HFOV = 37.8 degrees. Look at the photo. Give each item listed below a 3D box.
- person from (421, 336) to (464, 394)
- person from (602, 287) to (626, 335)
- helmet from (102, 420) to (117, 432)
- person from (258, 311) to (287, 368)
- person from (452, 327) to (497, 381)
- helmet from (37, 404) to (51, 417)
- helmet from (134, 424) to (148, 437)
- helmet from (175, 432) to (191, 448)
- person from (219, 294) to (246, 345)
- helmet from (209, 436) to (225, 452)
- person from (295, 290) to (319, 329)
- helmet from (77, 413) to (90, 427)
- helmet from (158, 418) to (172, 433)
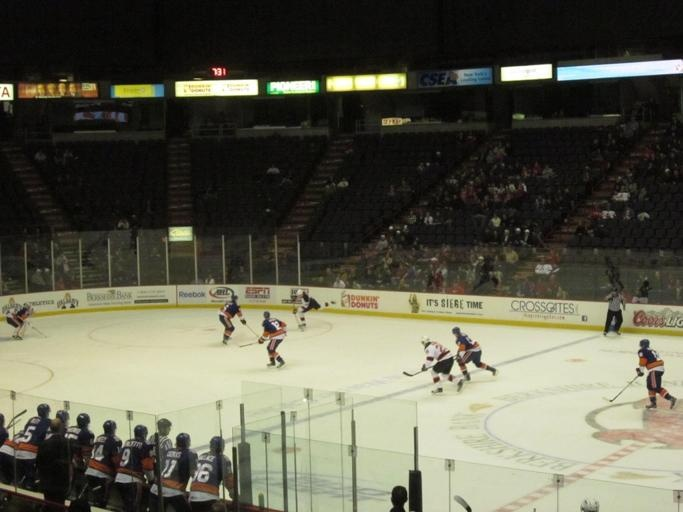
[{"bbox_3d":[2.651,2.754,25.939,0.995,1.458,1.103,1,10,9],"label":"person"},{"bbox_3d":[8.453,1.727,30.766,0.576,1.464,0.905,2,10,17],"label":"person"},{"bbox_3d":[-4.483,3.349,19.425,0.245,0.264,0.191,3,4,-44],"label":"helmet"},{"bbox_3d":[-2.033,2.540,29.318,0.864,1.757,0.796,11,29,25],"label":"person"},{"bbox_3d":[3.695,2.800,27.677,1.094,1.434,0.615,0,43,35],"label":"person"},{"bbox_3d":[-5.947,3.099,19.955,0.265,0.292,0.210,-4,6,-11],"label":"helmet"},{"bbox_3d":[-3.825,3.377,19.029,0.202,0.265,0.259,9,9,42],"label":"helmet"},{"bbox_3d":[-3.007,3.533,18.960,0.212,0.265,0.262,2,7,2],"label":"helmet"},{"bbox_3d":[-3.471,1.928,31.748,0.789,1.558,1.677,-2,10,-5],"label":"person"},{"bbox_3d":[-2.354,3.585,18.953,0.297,0.311,0.225,-4,4,-27],"label":"helmet"},{"bbox_3d":[-1.076,1.661,33.078,0.972,1.297,0.501,-12,1,5],"label":"person"},{"bbox_3d":[-5.070,3.244,19.573,0.259,0.281,0.203,-2,5,-6],"label":"helmet"},{"bbox_3d":[-3.340,3.235,18.860,0.234,0.244,0.185,-3,8,-13],"label":"helmet"}]
